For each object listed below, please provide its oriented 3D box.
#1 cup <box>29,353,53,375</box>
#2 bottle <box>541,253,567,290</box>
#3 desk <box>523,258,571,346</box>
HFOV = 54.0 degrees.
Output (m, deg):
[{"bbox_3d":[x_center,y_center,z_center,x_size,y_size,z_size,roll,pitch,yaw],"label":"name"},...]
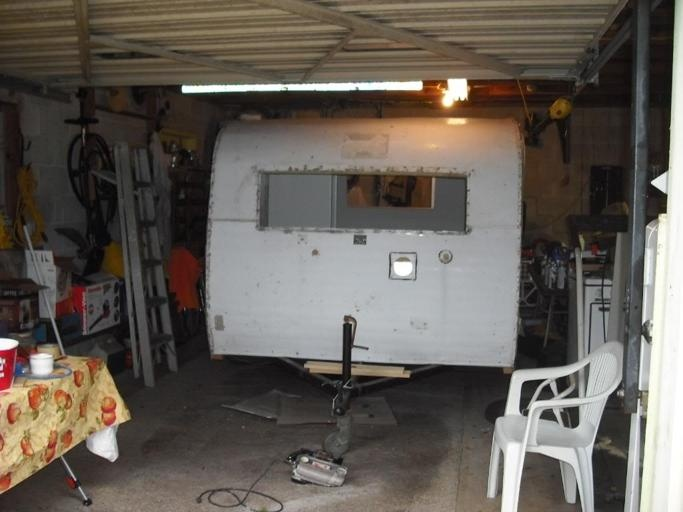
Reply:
[{"bbox_3d":[-1.896,0.681,4.241,0.123,0.115,0.127,0,-6,0],"label":"cup"},{"bbox_3d":[2.546,0.191,7.988,0.200,0.392,0.140,2,-10,18],"label":"bottle"},{"bbox_3d":[2.647,0.612,8.612,0.589,0.686,0.975,-1,8,2],"label":"desk"}]
